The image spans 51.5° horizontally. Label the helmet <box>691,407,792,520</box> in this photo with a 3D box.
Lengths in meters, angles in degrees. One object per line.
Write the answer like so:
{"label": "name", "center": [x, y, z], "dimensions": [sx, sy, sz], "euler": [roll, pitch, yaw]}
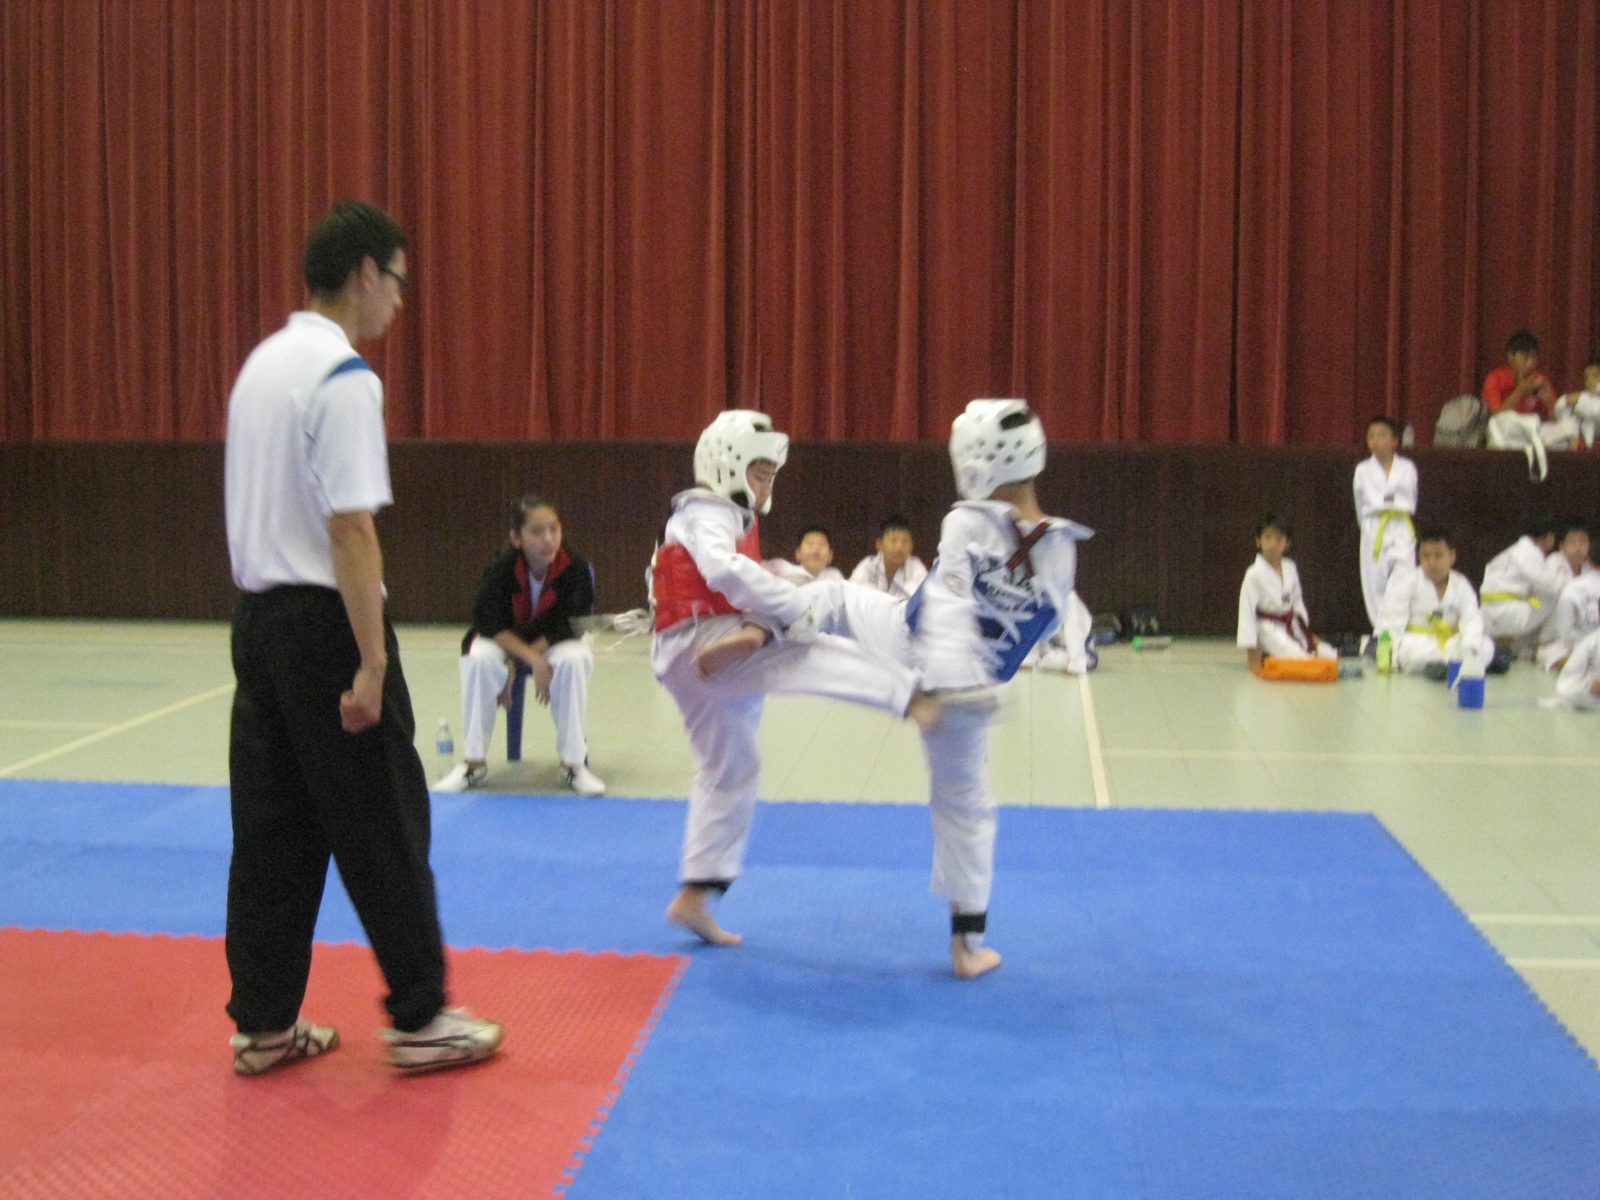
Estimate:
{"label": "helmet", "center": [-0.184, -0.459, 5.359], "dimensions": [0.282, 0.379, 0.259], "euler": [1, 4, 7]}

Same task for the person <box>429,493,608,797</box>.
{"label": "person", "center": [-1.103, 0.096, 6.939], "dimensions": [0.824, 1.689, 0.966], "euler": [1, 8, -7]}

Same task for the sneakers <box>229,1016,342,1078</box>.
{"label": "sneakers", "center": [-1.384, 1.197, 4.475], "dimensions": [0.107, 0.151, 0.307], "euler": [5, 5, 38]}

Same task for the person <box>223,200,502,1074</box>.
{"label": "person", "center": [-1.247, 0.092, 4.440], "dimensions": [0.706, 2.232, 0.606], "euler": [-2, 13, -11]}

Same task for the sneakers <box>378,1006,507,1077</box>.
{"label": "sneakers", "center": [-0.953, 1.133, 4.449], "dimensions": [0.303, 0.183, 0.147], "euler": [-5, 3, -20]}

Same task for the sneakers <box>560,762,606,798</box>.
{"label": "sneakers", "center": [-0.858, 0.696, 6.568], "dimensions": [0.076, 0.097, 0.212], "euler": [-6, 9, -35]}

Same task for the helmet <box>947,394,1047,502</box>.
{"label": "helmet", "center": [0.614, -0.456, 5.041], "dimensions": [0.276, 0.305, 0.239], "euler": [3, 7, 21]}

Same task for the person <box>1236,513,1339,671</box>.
{"label": "person", "center": [2.708, -0.054, 9.259], "dimensions": [0.469, 0.791, 0.311], "euler": [3, 13, 13]}

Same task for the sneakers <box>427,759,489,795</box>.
{"label": "sneakers", "center": [-1.361, 0.685, 6.558], "dimensions": [0.221, 0.114, 0.089], "euler": [-9, -8, -16]}

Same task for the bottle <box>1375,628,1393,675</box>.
{"label": "bottle", "center": [3.240, 0.264, 9.183], "dimensions": [0.099, 0.199, 0.142], "euler": [2, 13, 7]}
